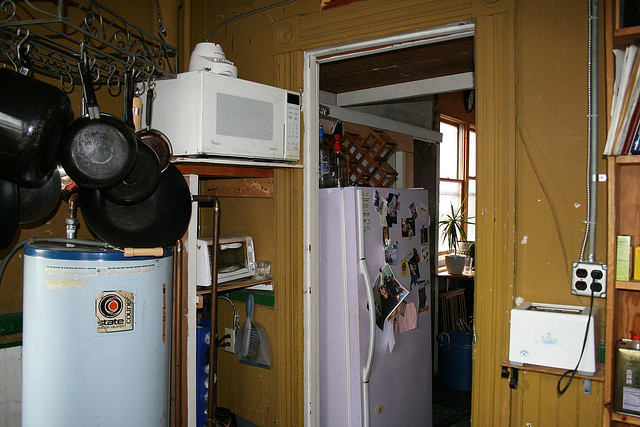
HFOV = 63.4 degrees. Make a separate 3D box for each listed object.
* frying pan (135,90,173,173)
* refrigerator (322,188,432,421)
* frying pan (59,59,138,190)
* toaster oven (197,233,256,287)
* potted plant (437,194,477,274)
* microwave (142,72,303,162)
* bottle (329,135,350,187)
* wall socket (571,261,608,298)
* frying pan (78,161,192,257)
[{"bbox_3d":[-0.814,-0.409,2.601,0.186,0.394,0.051,-5,1,-32],"label":"frying pan"},{"bbox_3d":[0.418,0.644,3.506,0.866,1.659,0.303,1,-1,-40],"label":"refrigerator"},{"bbox_3d":[-0.987,-0.398,2.324,0.321,0.572,0.114,1,-1,-31],"label":"frying pan"},{"bbox_3d":[-0.551,0.273,3.075,0.222,0.307,0.389,-2,1,31],"label":"toaster oven"},{"bbox_3d":[1.546,0.227,5.917,0.365,0.817,1.158,0,-1,14],"label":"potted plant"},{"bbox_3d":[-0.514,-0.523,3.024,0.509,0.423,0.747,4,3,41],"label":"microwave"},{"bbox_3d":[0.129,-0.347,3.503,0.122,0.352,0.333,0,-1,1],"label":"bottle"},{"bbox_3d":[1.269,0.308,2.432,0.158,0.198,0.091,1,1,36],"label":"wall socket"},{"bbox_3d":[-0.886,0.018,2.559,0.112,0.507,0.444,-9,-10,42],"label":"frying pan"}]
